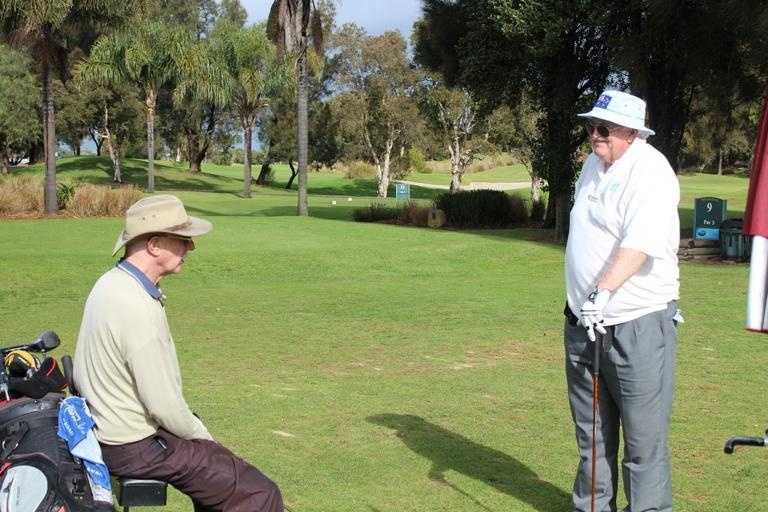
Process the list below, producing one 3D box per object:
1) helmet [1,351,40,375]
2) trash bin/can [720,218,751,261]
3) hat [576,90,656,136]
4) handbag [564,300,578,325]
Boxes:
[{"bbox_3d":[-3.132,0.926,6.961,0.204,0.161,0.259,10,-7,-41],"label":"helmet"},{"bbox_3d":[8.638,-0.344,19.765,0.823,0.801,0.802,1,7,19],"label":"trash bin/can"},{"bbox_3d":[2.180,-1.330,7.528,0.776,0.377,0.735,20,17,24],"label":"hat"},{"bbox_3d":[1.794,0.540,7.587,0.112,0.190,0.144,3,-4,-24],"label":"handbag"}]
